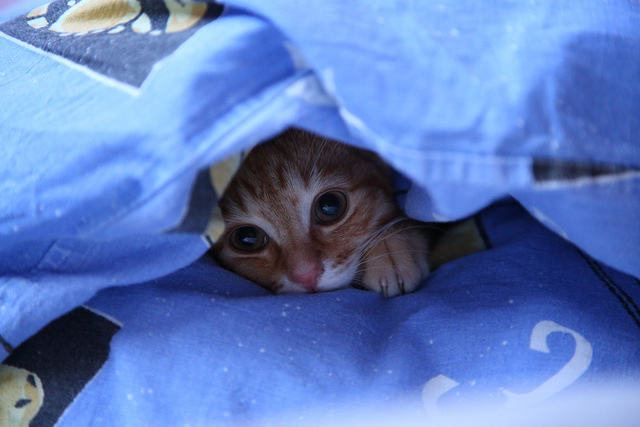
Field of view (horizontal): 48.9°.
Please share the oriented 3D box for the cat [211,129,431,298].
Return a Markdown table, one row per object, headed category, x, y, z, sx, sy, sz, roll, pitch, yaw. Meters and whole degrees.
| category | x | y | z | sx | sy | sz | roll | pitch | yaw |
| --- | --- | --- | --- | --- | --- | --- | --- | --- | --- |
| cat | 0.052 | 0.018 | 1.835 | 0.337 | 0.546 | 0.301 | -45 | 68 | 26 |
